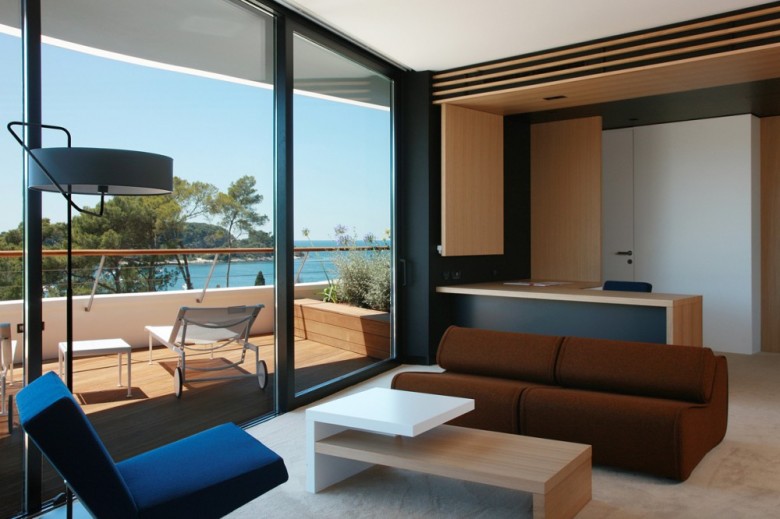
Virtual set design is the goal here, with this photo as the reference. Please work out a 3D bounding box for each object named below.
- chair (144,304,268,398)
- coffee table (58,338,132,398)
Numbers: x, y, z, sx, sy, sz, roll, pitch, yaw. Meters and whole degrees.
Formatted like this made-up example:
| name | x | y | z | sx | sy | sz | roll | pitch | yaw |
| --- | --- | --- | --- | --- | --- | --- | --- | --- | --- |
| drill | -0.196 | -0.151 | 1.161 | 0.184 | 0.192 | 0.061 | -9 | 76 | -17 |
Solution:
| name | x | y | z | sx | sy | sz | roll | pitch | yaw |
| --- | --- | --- | --- | --- | --- | --- | --- | --- | --- |
| chair | -1.427 | 0.688 | 4.461 | 0.512 | 0.489 | 0.818 | 1 | 4 | -37 |
| coffee table | -2.119 | 0.664 | 3.966 | 0.541 | 0.489 | 0.412 | -2 | 5 | -37 |
